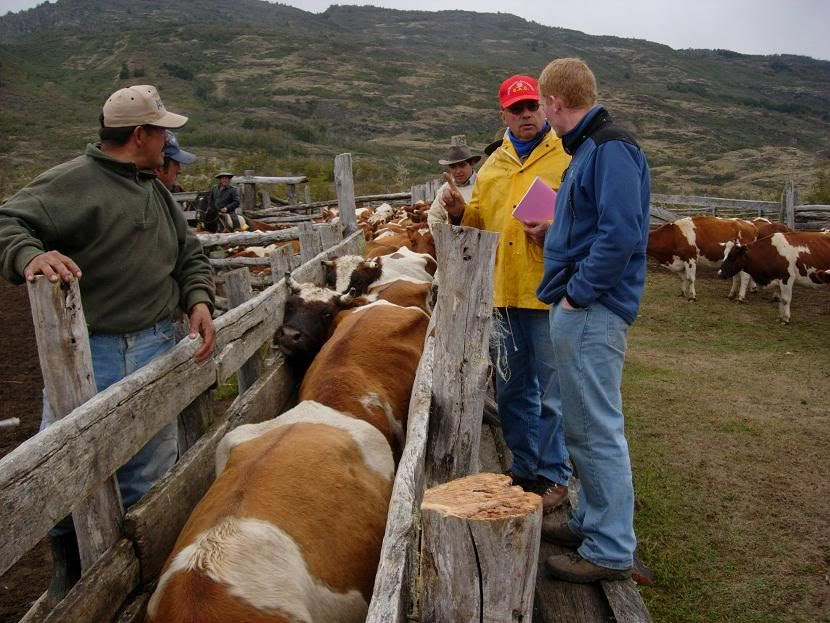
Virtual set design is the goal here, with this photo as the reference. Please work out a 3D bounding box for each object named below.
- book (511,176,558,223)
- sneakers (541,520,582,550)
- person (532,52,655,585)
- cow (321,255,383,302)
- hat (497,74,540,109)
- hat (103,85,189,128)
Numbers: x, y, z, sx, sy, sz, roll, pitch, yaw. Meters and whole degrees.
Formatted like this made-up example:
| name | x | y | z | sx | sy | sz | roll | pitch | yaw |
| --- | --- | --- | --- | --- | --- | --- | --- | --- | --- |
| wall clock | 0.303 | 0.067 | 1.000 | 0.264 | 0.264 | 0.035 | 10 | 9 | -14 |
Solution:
| name | x | y | z | sx | sy | sz | roll | pitch | yaw |
| --- | --- | --- | --- | --- | --- | --- | --- | --- | --- |
| book | 0.804 | -0.703 | 3.756 | 0.282 | 0.285 | 0.075 | 43 | 0 | -1 |
| sneakers | 0.899 | 1.360 | 3.573 | 0.279 | 0.133 | 0.105 | 10 | 20 | 34 |
| person | 1.007 | 0.006 | 3.307 | 0.605 | 2.963 | 0.836 | 1 | 10 | 4 |
| cow | -0.699 | -0.394 | 6.284 | 0.329 | 0.489 | 0.832 | -7 | 7 | 11 |
| hat | 0.771 | -1.596 | 4.241 | 0.279 | 0.223 | 0.402 | -11 | 24 | 5 |
| hat | -1.680 | -1.250 | 3.638 | 0.497 | 0.281 | 0.307 | -11 | 29 | -30 |
